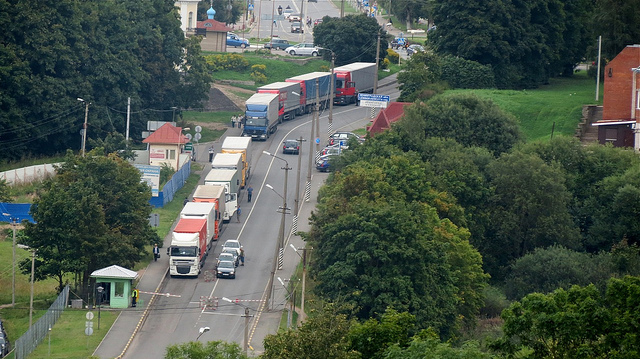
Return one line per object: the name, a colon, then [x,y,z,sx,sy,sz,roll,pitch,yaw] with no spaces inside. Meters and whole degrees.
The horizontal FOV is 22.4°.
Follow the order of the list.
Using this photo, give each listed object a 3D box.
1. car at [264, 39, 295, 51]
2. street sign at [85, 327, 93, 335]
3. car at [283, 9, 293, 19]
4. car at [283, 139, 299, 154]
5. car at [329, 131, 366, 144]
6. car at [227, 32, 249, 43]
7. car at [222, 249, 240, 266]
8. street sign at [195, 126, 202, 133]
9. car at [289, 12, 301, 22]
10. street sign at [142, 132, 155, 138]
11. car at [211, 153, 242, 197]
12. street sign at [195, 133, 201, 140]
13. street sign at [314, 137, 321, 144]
car: [-7.724,-24.761,298.957,4.826,1.426,1.980,-4,15,-11]
street sign: [-30.478,19.897,211.061,0.959,0.954,0.952,3,12,16]
car: [-6.704,-34.573,337.499,1.919,1.342,4.048,0,12,-4]
car: [-4.418,-4.891,247.256,2.494,1.596,5.031,1,2,0]
car: [4.076,-6.282,251.835,4.662,1.835,2.224,-1,15,1]
car: [-15.382,-26.488,303.182,3.569,1.578,2.126,2,8,-1]
car: [-12.470,10.903,223.325,2.249,1.941,3.798,0,-4,1]
street sign: [-18.902,-7.699,249.724,1.029,0.993,0.263,-1,7,13]
car: [-5.240,-33.889,336.280,1.662,1.341,2.819,0,1,0]
street sign: [-27.155,-6.917,251.113,1.409,0.858,0.342,-2,-3,18]
car: [-13.475,-2.042,237.001,3.769,3.472,5.798,3,20,3]
street sign: [-19.113,-6.648,251.300,1.010,0.972,0.231,0,5,8]
street sign: [-0.422,-5.855,246.373,1.196,1.149,0.317,-2,2,6]
